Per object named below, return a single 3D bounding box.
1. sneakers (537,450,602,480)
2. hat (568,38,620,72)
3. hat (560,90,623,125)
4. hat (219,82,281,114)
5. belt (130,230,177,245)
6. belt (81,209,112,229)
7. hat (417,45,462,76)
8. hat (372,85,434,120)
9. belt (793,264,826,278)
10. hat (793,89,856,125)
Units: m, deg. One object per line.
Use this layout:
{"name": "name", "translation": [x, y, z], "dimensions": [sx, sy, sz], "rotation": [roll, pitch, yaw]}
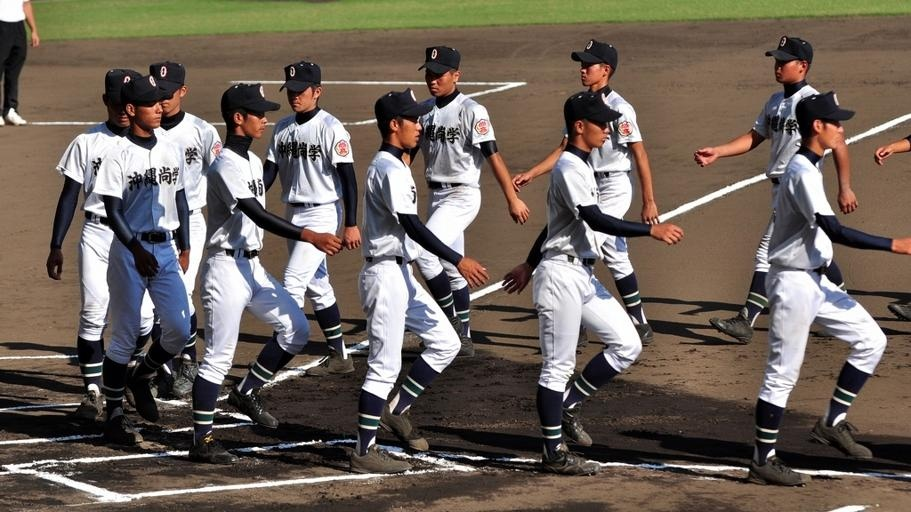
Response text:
{"name": "sneakers", "translation": [1.297, 2.361, 14.022], "dimensions": [0.796, 0.212, 0.239], "rotation": [1, 9, 5]}
{"name": "hat", "translation": [1.907, -2.821, 17.095], "dimensions": [0.705, 0.258, 0.436], "rotation": [-3, 31, -41]}
{"name": "hat", "translation": [1.592, -1.709, 14.183], "dimensions": [0.707, 0.233, 0.343], "rotation": [6, 24, 7]}
{"name": "hat", "translation": [-2.411, -1.825, 14.491], "dimensions": [0.535, 0.339, 0.427], "rotation": [3, 10, 14]}
{"name": "belt", "translation": [-3.529, -0.213, 14.536], "dimensions": [0.438, 0.147, 0.120], "rotation": [-4, 12, -28]}
{"name": "belt", "translation": [-4.444, -0.449, 15.289], "dimensions": [0.342, 0.066, 0.274], "rotation": [12, -2, 4]}
{"name": "hat", "translation": [-0.092, -2.678, 17.037], "dimensions": [0.512, 0.267, 0.708], "rotation": [13, 13, 43]}
{"name": "hat", "translation": [-0.590, -1.735, 14.273], "dimensions": [0.666, 0.192, 0.374], "rotation": [-3, 14, -12]}
{"name": "belt", "translation": [4.116, 0.169, 14.063], "dimensions": [0.374, 0.110, 0.104], "rotation": [-4, 12, -28]}
{"name": "hat", "translation": [4.244, -1.642, 14.180], "dimensions": [0.744, 0.281, 0.405], "rotation": [-1, -5, 12]}
